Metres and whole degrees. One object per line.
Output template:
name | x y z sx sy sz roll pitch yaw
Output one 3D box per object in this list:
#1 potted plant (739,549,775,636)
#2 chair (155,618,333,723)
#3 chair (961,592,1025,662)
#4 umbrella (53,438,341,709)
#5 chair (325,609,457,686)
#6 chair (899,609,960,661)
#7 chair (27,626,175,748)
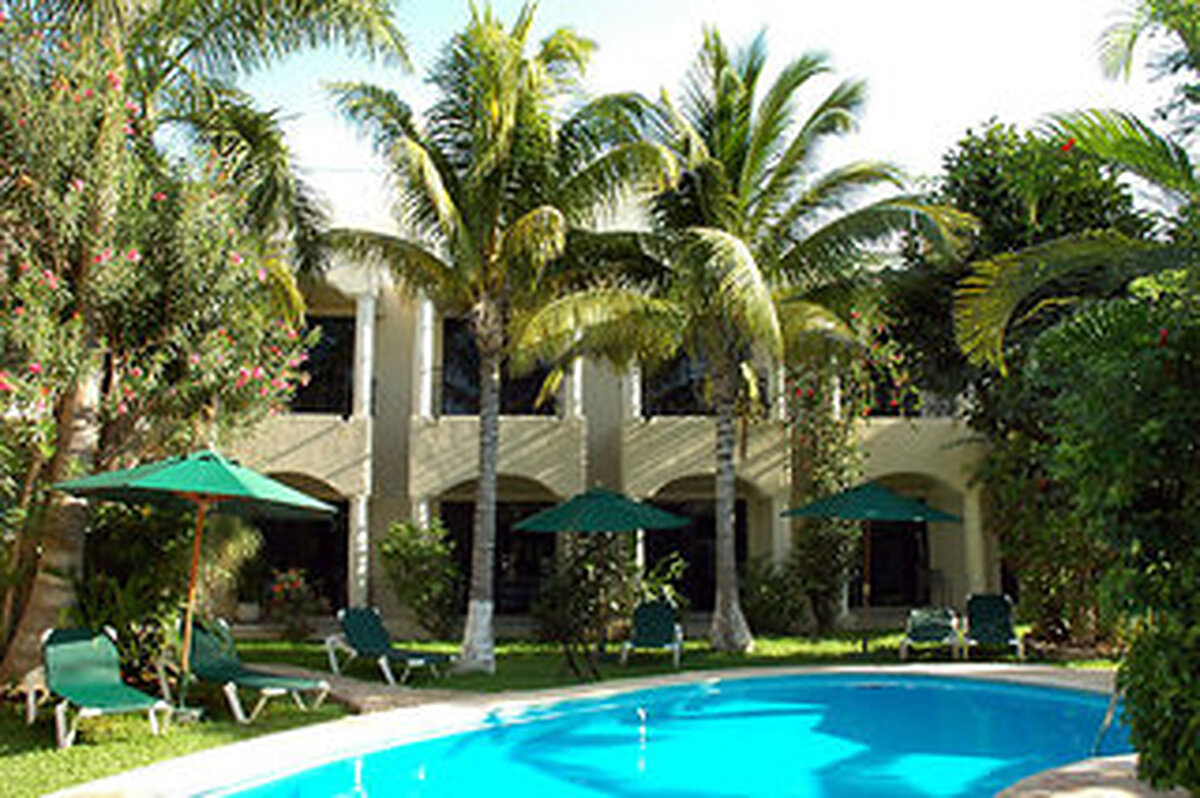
potted plant | 3.690 4.672 24.377 0.850 1.667 0.852 2 1 30
chair | -5.682 4.282 16.173 2.557 1.443 1.430 -4 -13 36
chair | 7.951 4.595 21.163 0.991 1.042 1.548 -2 -18 11
umbrella | -6.130 2.699 15.657 2.997 3.882 2.759 2 1 23
chair | -3.916 4.519 18.792 2.135 1.102 1.329 -7 -14 44
chair | 6.697 4.694 20.866 0.921 0.867 1.385 -4 -24 14
chair | -7.173 4.067 14.743 1.314 1.351 1.980 9 -12 -43
